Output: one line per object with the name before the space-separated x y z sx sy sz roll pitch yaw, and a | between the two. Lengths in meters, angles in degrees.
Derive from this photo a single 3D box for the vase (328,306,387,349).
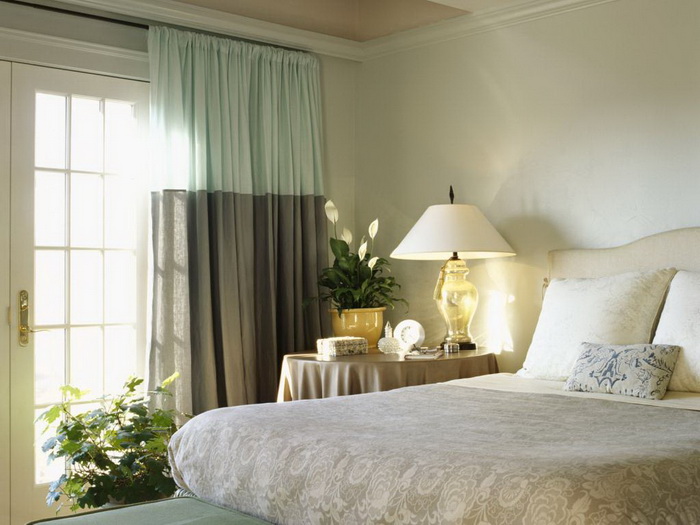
vase | 0.073 0.423 3.792 0.389 0.314 0.423 -3 2 17

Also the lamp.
lamp | 0.685 0.052 3.536 0.735 1.015 0.749 -1 -3 -18

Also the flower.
flower | 0.051 -0.005 3.783 0.461 0.696 0.553 5 -5 -31
